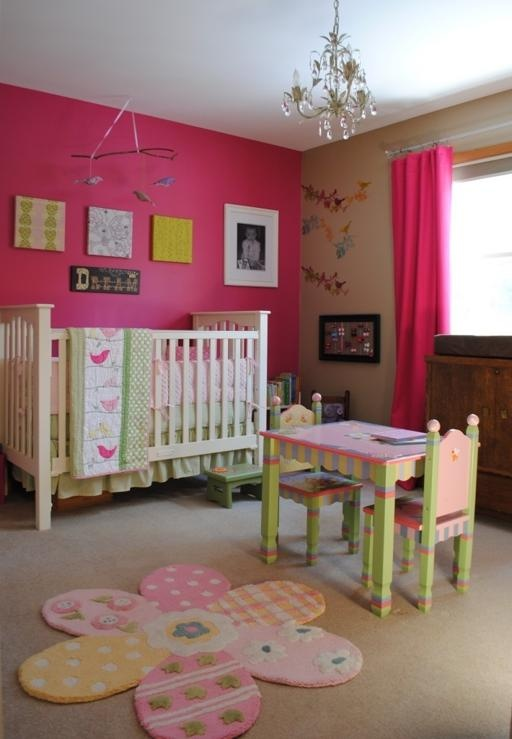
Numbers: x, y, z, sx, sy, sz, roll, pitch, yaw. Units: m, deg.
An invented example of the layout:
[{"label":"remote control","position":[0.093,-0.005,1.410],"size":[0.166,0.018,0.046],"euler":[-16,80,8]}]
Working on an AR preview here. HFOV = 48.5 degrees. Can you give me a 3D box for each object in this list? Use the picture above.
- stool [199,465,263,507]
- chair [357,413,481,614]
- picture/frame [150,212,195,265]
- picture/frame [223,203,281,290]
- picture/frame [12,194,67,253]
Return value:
[{"label":"stool","position":[-0.129,0.632,3.223],"size":[0.277,0.180,0.202],"euler":[-3,4,-44]},{"label":"chair","position":[0.646,0.488,2.054],"size":[0.251,0.661,0.383],"euler":[3,3,44]},{"label":"picture/frame","position":[-0.609,-0.930,4.037],"size":[0.395,0.406,0.040],"euler":[-1,5,-43]},{"label":"picture/frame","position":[-0.054,-0.978,4.489],"size":[0.656,0.783,0.039],"euler":[-7,12,-38]},{"label":"picture/frame","position":[-1.326,-0.885,3.434],"size":[0.381,0.391,0.038],"euler":[0,2,-37]}]
